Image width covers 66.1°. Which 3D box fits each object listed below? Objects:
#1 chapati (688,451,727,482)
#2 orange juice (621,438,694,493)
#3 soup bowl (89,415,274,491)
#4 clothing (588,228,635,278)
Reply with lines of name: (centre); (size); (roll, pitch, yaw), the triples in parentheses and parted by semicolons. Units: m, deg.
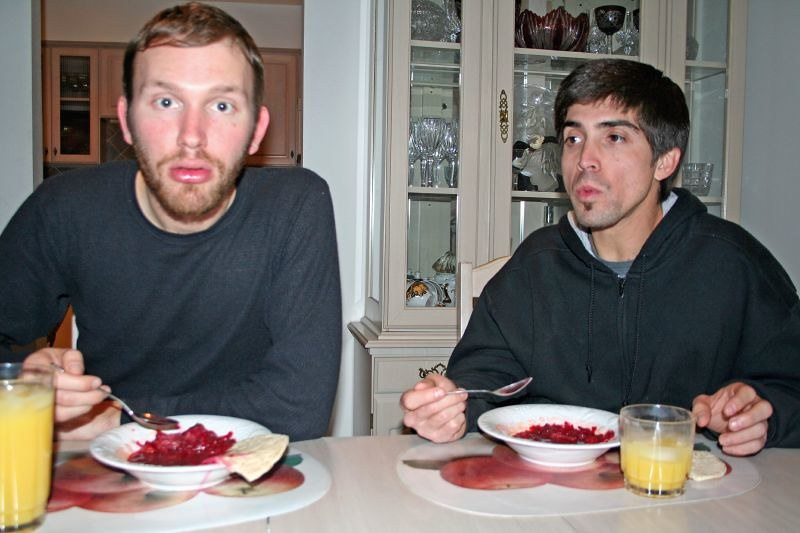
chapati: (0.664, 0.430, 1.326); (0.074, 0.017, 0.076); (-1, 6, 28)
orange juice: (0.514, 0.403, 1.236); (0.124, 0.082, 0.119); (0, -3, 10)
soup bowl: (-0.469, 0.366, 1.264); (0.200, 0.045, 0.195); (5, 9, -1)
clothing: (0.655, -0.037, 1.905); (0.108, 0.130, 0.051); (-7, -2, 6)
